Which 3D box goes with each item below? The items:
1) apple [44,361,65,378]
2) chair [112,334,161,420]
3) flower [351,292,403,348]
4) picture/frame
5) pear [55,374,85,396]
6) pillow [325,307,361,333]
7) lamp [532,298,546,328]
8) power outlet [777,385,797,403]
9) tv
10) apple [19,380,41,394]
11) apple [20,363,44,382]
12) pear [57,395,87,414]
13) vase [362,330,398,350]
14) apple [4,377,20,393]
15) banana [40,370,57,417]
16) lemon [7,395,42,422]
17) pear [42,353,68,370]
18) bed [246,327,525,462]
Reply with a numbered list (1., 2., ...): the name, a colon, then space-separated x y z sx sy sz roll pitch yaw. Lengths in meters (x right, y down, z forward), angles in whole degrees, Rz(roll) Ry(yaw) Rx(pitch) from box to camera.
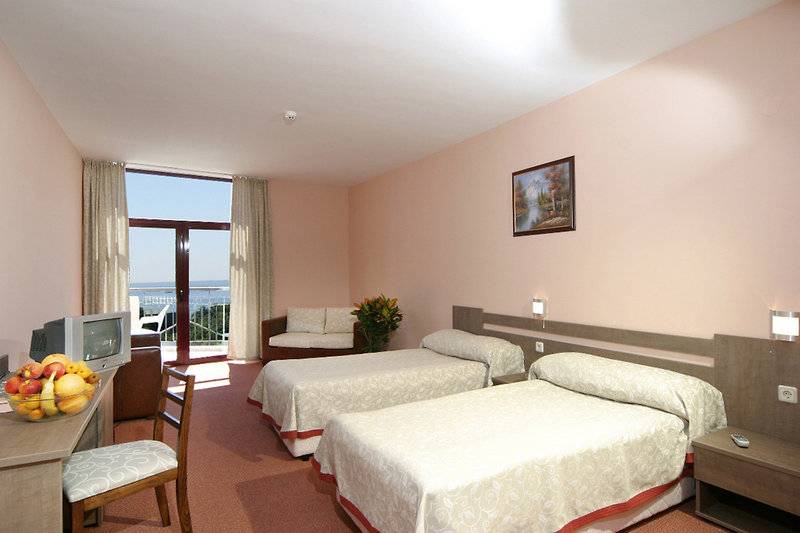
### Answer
1. apple: -2.282 0.684 3.380 0.083 0.088 0.114 6 -9 24
2. chair: -2.689 1.178 5.207 0.577 0.783 1.015 3 -4 -33
3. flower: -0.280 0.757 7.237 0.777 0.787 0.703 3 4 3
4. picture/frame: 1.521 -0.732 5.340 0.040 0.894 0.905 1 -1 -40
5. pear: -2.136 0.771 3.339 0.151 0.146 0.142 -1 -2 -8
6. pillow: -0.936 0.841 7.893 0.428 0.374 0.135 -2 -14 4
7. lamp: 1.464 0.494 5.378 0.089 0.296 0.197 -6 10 -28
8. power outlet: 2.952 0.975 3.923 0.114 0.125 0.117 2 -2 -33
9. tv: -2.863 0.659 4.512 0.669 0.490 0.573 1 1 21
10. apple: -2.374 0.781 3.299 0.088 0.088 0.083 10 5 11
11. apple: -2.411 0.687 3.377 0.118 0.119 0.114 22 20 31
12. pear: -2.132 0.909 3.339 0.143 0.119 0.113 -1 -34 12
13. vase: -0.318 1.065 7.261 0.330 0.445 0.383 -1 -2 16
14. apple: -2.522 0.780 3.354 0.100 0.099 0.101 -8 -8 -40
15. banana: -2.265 0.851 3.310 0.096 0.219 0.067 4 -26 -14
16. lemon: -2.406 0.896 3.304 0.183 0.129 0.184 0 -5 1
17. pear: -2.353 0.640 3.489 0.136 0.136 0.135 17 -17 -25
18. bed: -0.155 1.319 5.748 2.724 0.949 1.783 0 -3 -20
